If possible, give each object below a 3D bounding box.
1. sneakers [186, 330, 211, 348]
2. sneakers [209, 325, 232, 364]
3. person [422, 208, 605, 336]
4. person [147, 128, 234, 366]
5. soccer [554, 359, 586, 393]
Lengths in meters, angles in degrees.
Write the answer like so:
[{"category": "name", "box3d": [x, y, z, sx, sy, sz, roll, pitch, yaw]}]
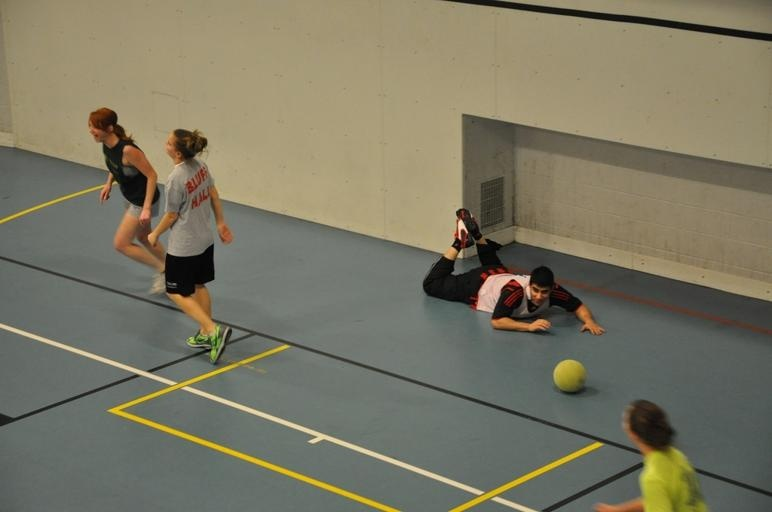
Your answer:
[{"category": "sneakers", "box3d": [-2.626, 1.185, 10.554, 0.444, 0.236, 0.174, 10, 15, 43]}, {"category": "sneakers", "box3d": [-2.258, 1.168, 10.171, 0.268, 0.640, 0.217, 15, 34, -2]}, {"category": "person", "box3d": [1.793, 0.561, 11.416, 1.462, 1.080, 2.586, -15, 37, -41]}, {"category": "person", "box3d": [-2.644, -0.160, 10.279, 0.983, 2.994, 1.352, 1, 19, -14]}, {"category": "soccer", "box3d": [2.373, 1.565, 9.737, 0.401, 0.481, 0.421, -1, 0, -7]}]
